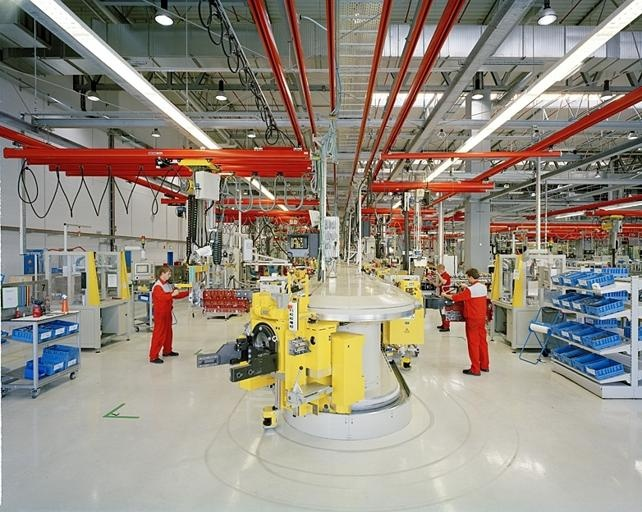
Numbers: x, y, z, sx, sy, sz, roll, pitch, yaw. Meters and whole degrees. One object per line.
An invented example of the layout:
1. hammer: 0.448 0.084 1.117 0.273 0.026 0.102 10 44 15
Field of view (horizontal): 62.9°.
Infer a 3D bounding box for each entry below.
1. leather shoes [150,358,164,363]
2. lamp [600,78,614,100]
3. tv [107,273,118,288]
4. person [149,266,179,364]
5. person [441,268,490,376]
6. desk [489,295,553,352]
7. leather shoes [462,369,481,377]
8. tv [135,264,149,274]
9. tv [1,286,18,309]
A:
1. leather shoes: -2.674 1.708 8.613 0.199 0.073 0.075 -1 0 1
2. lamp: 4.690 -2.721 8.608 0.164 0.360 0.474 -4 -2 29
3. tv: -4.000 0.468 10.139 0.326 0.281 0.162 0 -6 -5
4. person: -2.642 0.967 8.874 0.528 1.588 0.629 -3 -2 -16
5. person: 2.311 1.002 8.108 0.560 1.416 0.579 -4 -2 14
6. desk: 3.636 1.097 9.505 0.772 0.705 1.196 0 1 9
7. leather shoes: 2.282 1.761 7.942 0.260 0.095 0.095 4 1 40
8. tv: -3.636 0.253 10.789 0.287 0.212 0.125 -2 -2 -24
9. tv: -4.499 0.610 7.631 0.199 0.319 0.452 -2 -2 -31
